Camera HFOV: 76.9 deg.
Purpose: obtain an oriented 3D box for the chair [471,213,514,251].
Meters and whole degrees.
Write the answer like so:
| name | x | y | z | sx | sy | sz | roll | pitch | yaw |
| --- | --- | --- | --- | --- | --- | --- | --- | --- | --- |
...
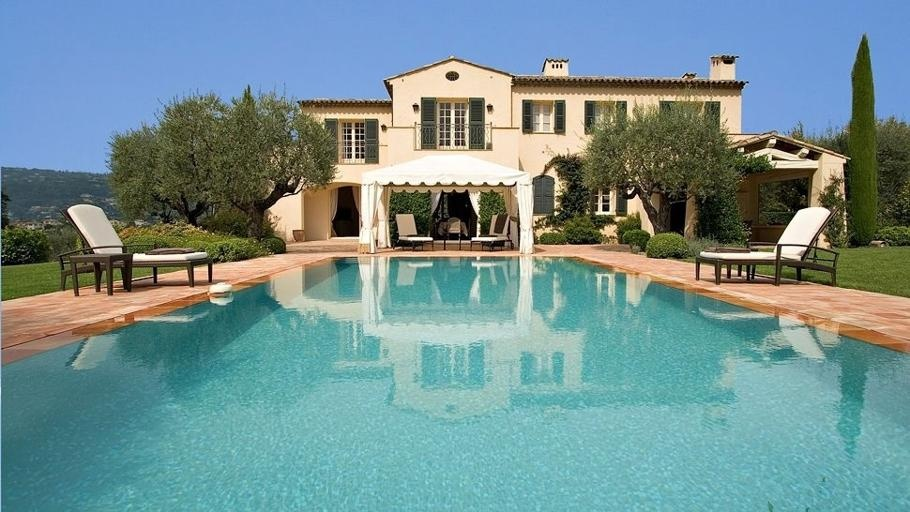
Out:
| name | x | y | z | sx | sy | sz | roll | pitch | yaw |
| --- | --- | --- | --- | --- | --- | --- | --- | --- | --- |
| chair | 1.370 | -0.834 | 22.252 | 0.914 | 1.141 | 1.544 | -4 | -12 | -45 |

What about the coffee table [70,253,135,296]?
| name | x | y | z | sx | sy | sz | roll | pitch | yaw |
| --- | --- | --- | --- | --- | --- | --- | --- | --- | --- |
| coffee table | -7.678 | 0.423 | 12.491 | 1.178 | 0.761 | 1.168 | 1 | 5 | 44 |

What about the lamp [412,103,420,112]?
| name | x | y | z | sx | sy | sz | roll | pitch | yaw |
| --- | --- | --- | --- | --- | --- | --- | --- | --- | --- |
| lamp | -1.711 | -6.608 | 25.447 | 0.354 | 0.388 | 0.330 | -2 | -4 | -4 |

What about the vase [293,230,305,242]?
| name | x | y | z | sx | sy | sz | roll | pitch | yaw |
| --- | --- | --- | --- | --- | --- | --- | --- | --- | --- |
| vase | -7.203 | -0.986 | 26.738 | 0.400 | 0.586 | 0.610 | 8 | 14 | 35 |

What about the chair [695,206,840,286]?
| name | x | y | z | sx | sy | sz | roll | pitch | yaw |
| --- | --- | --- | --- | --- | --- | --- | --- | --- | --- |
| chair | 7.385 | -0.241 | 13.676 | 2.721 | 1.671 | 1.698 | -1 | 4 | 4 |

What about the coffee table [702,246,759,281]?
| name | x | y | z | sx | sy | sz | roll | pitch | yaw |
| --- | --- | --- | --- | --- | --- | --- | --- | --- | --- |
| coffee table | 6.535 | 0.212 | 13.495 | 1.164 | 0.529 | 0.836 | -1 | 5 | 2 |

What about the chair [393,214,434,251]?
| name | x | y | z | sx | sy | sz | roll | pitch | yaw |
| --- | --- | --- | --- | --- | --- | --- | --- | --- | --- |
| chair | -1.690 | -0.927 | 22.050 | 0.963 | 1.278 | 1.697 | -3 | 12 | -11 |

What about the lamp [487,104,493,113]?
| name | x | y | z | sx | sy | sz | roll | pitch | yaw |
| --- | --- | --- | --- | --- | --- | --- | --- | --- | --- |
| lamp | 1.557 | -6.528 | 25.295 | 0.373 | 0.424 | 0.333 | -1 | -1 | -2 |

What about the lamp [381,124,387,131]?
| name | x | y | z | sx | sy | sz | roll | pitch | yaw |
| --- | --- | --- | --- | --- | --- | --- | --- | --- | --- |
| lamp | -3.238 | -5.979 | 26.638 | 0.208 | 0.336 | 0.689 | -4 | 12 | -19 |
